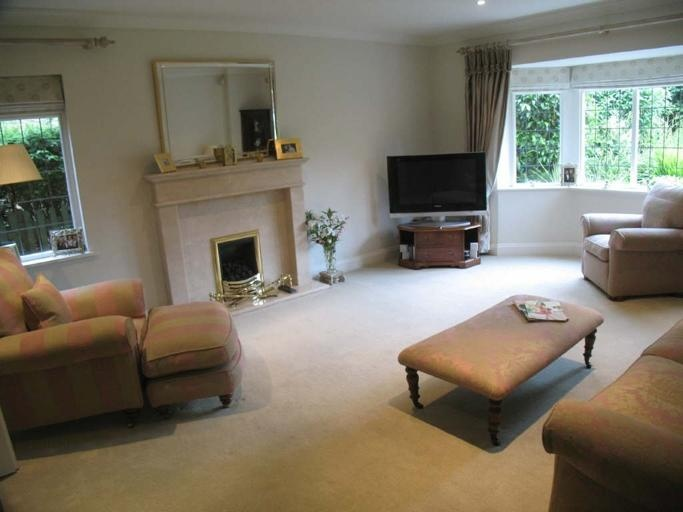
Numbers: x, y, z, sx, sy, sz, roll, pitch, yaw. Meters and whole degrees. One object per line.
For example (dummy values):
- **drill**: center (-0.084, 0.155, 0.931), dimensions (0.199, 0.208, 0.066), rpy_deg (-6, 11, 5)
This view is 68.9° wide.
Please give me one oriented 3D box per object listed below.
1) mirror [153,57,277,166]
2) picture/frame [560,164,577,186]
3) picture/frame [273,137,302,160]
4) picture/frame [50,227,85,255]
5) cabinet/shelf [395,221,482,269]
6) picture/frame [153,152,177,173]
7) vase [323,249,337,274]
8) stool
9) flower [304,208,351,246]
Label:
- **mirror**: center (-1.321, -1.460, 5.017), dimensions (1.125, 0.851, 0.081), rpy_deg (-14, 21, -36)
- **picture/frame**: center (2.906, -1.042, 6.410), dimensions (0.231, 0.312, 0.244), rpy_deg (2, 10, 20)
- **picture/frame**: center (-0.596, -1.162, 5.449), dimensions (0.251, 0.183, 0.026), rpy_deg (-9, 5, -30)
- **picture/frame**: center (-2.495, -0.122, 4.534), dimensions (0.225, 0.224, 0.031), rpy_deg (-10, 5, -26)
- **cabinet/shelf**: center (1.259, -0.147, 6.360), dimensions (1.040, 0.558, 0.402), rpy_deg (-3, 14, 7)
- **picture/frame**: center (-1.705, -0.893, 4.792), dimensions (0.019, 0.188, 0.163), rpy_deg (-13, 17, 40)
- **vase**: center (-0.130, 0.049, 6.051), dimensions (0.147, 0.317, 0.384), rpy_deg (-5, 13, -1)
- **stool**: center (-1.058, 0.662, 3.596), dimensions (0.657, 0.456, 0.852), rpy_deg (-3, 29, -13)
- **flower**: center (-0.170, -0.349, 5.919), dimensions (0.439, 0.508, 0.501), rpy_deg (3, 14, 23)
